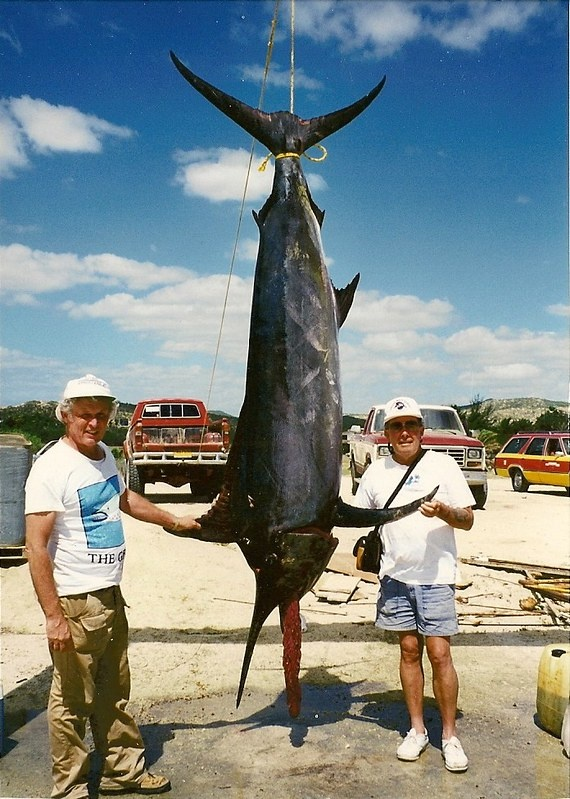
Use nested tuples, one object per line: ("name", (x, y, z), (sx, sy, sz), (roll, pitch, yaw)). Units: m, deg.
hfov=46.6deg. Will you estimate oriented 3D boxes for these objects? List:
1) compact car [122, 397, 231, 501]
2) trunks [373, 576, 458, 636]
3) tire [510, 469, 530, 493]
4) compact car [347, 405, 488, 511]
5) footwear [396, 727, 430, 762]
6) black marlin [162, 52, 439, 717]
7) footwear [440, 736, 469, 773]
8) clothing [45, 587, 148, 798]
("compact car", (-2.170, 0.816, 12.685), (1.876, 1.614, 3.501), (0, 2, -14))
("trunks", (0.681, 1.049, 3.338), (0.390, 0.262, 0.218), (0, -9, 36))
("tire", (5.795, 2.022, 16.429), (0.223, 0.604, 0.619), (6, 2, -14))
("compact car", (2.423, 1.023, 12.216), (2.072, 1.486, 3.424), (-1, -2, -7))
("footwear", (0.613, 1.678, 3.191), (0.086, 0.092, 0.207), (-9, -23, 30))
("black marlin", (0.136, 0.016, 2.925), (0.774, 2.908, 1.024), (1, -2, 13))
("footwear", (0.793, 1.668, 3.086), (0.081, 0.072, 0.175), (-2, -20, 4))
("clothing", (-0.841, 1.293, 2.910), (0.242, 0.911, 0.443), (-2, -3, 28))
